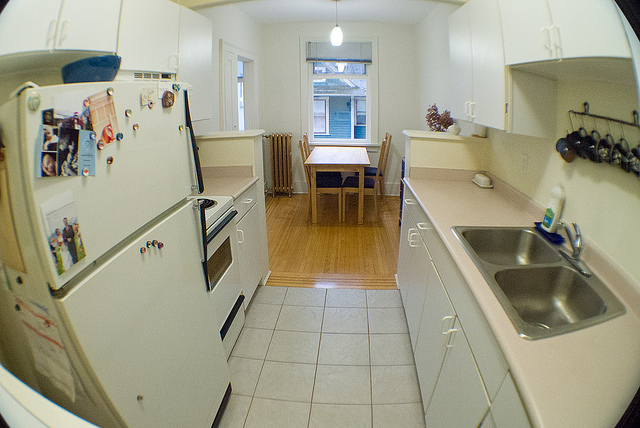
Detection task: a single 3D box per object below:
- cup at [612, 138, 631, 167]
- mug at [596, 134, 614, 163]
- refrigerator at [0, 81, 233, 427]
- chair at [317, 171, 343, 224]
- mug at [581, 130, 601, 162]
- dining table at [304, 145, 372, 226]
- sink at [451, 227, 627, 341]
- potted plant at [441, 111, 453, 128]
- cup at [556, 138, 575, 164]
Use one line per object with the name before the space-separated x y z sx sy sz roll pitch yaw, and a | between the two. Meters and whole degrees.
cup | 1.338 -0.272 1.841 0.044 0.092 0.069 9 24 7
mug | 1.337 -0.308 1.918 0.032 0.103 0.079 0 -9 19
refrigerator | -0.808 0.322 1.798 0.356 1.742 0.845 7 17 28
chair | 0.135 -0.229 5.458 0.316 0.407 0.612 -1 20 2
mug | 1.365 -0.353 2.029 0.068 0.139 0.229 1 30 35
dining table | 0.071 -0.311 5.203 1.074 0.555 0.579 3 -8 11
sink | 1.016 0.384 1.992 0.498 0.313 0.787 -9 27 1
potted plant | 1.340 -0.986 4.268 0.107 0.144 0.069 2 21 12
cup | 1.307 -0.336 2.178 0.047 0.125 0.058 17 -39 -31
